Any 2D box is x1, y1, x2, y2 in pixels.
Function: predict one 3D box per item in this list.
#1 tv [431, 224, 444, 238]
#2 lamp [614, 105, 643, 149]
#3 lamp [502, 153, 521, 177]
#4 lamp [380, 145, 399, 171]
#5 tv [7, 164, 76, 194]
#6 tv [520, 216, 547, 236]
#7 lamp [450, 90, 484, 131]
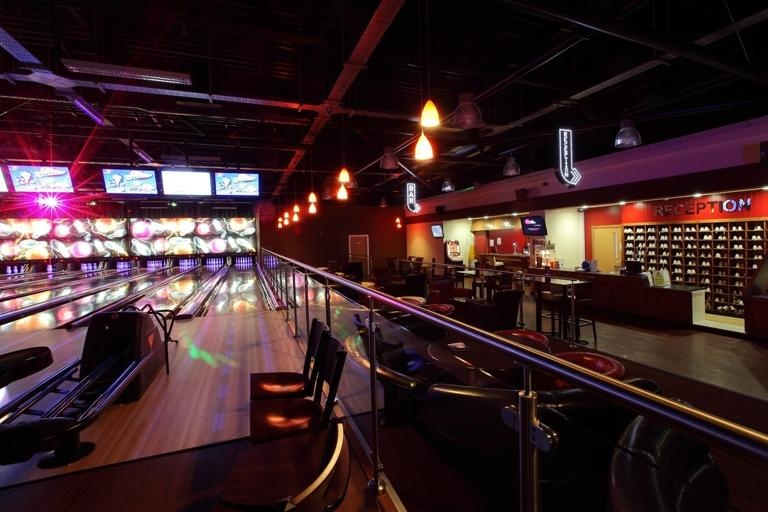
[{"bbox_3d":[1.950,-0.933,17.407,0.261,0.400,0.481,-7,-4,-8],"label":"tv"},{"bbox_3d":[4.175,-2.232,8.294,0.377,0.663,0.373,-6,11,23],"label":"lamp"},{"bbox_3d":[2.903,-2.104,11.062,0.276,0.487,0.744,-2,2,12],"label":"lamp"},{"bbox_3d":[0.100,-1.816,8.888,0.281,0.397,0.496,-2,2,6],"label":"lamp"},{"bbox_3d":[-7.033,-1.598,9.906,1.304,0.429,0.258,-2,3,8],"label":"tv"},{"bbox_3d":[4.017,-0.833,12.808,0.336,0.560,0.791,-3,3,-19],"label":"tv"},{"bbox_3d":[1.254,-2.097,7.108,0.549,0.543,0.529,-7,9,-40],"label":"lamp"}]
